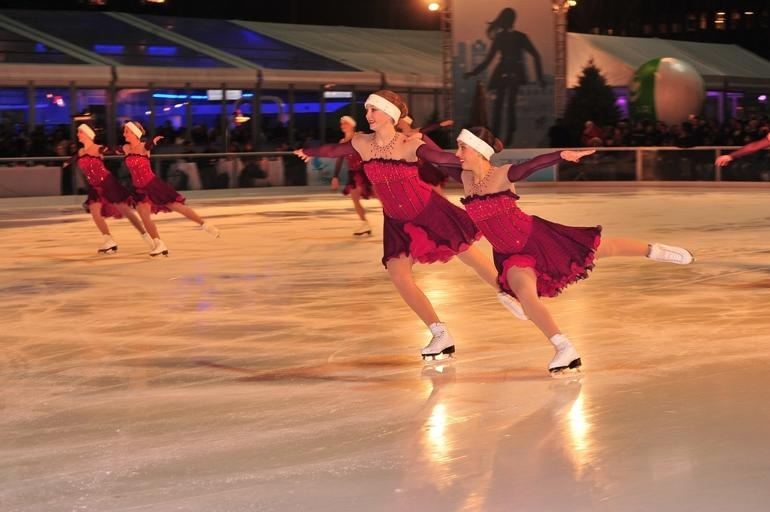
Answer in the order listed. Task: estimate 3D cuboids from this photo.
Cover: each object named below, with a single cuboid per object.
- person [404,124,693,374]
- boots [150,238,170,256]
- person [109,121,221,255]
[{"bbox_3d":[1.213,-0.081,4.708,1.124,1.630,0.989,-11,14,-30],"label":"person"},{"bbox_3d":[-3.472,-0.130,10.281,0.246,0.265,0.238,-5,11,-10],"label":"boots"},{"bbox_3d":[-3.437,-1.019,10.356,0.890,1.995,0.756,-8,14,-14],"label":"person"}]
